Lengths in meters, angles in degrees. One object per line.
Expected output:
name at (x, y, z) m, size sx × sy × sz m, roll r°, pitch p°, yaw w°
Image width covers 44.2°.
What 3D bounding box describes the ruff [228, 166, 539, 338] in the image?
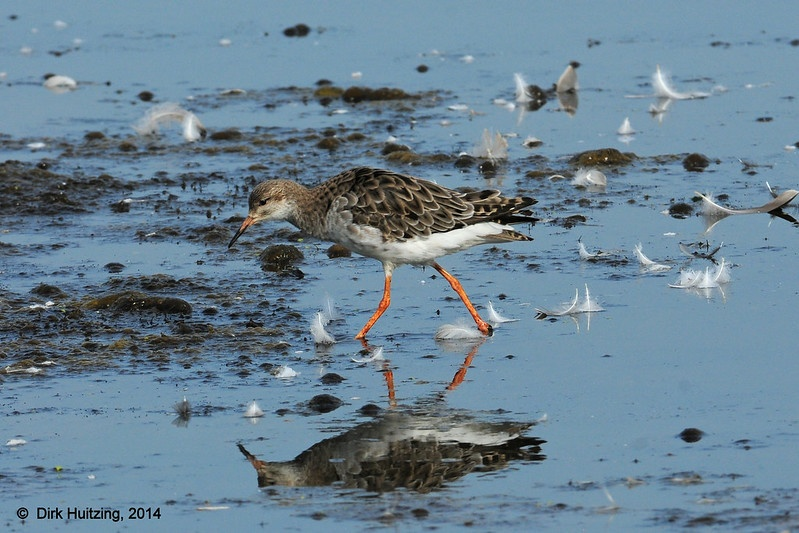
ruff at (-0.217, -0.094, 11.582) m, size 3.489 × 0.892 × 1.256 m, roll -1°, pitch 77°, yaw 13°
